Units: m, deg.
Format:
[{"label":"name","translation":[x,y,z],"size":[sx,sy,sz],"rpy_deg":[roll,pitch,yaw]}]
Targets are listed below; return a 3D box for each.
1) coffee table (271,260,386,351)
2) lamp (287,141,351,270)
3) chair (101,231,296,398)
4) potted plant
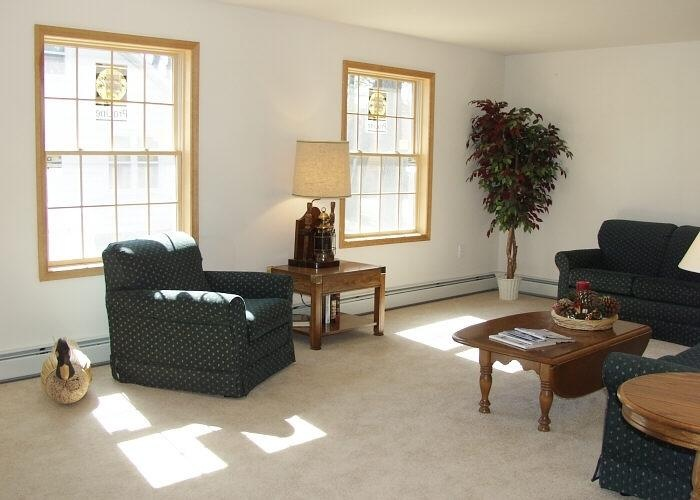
[{"label":"coffee table","translation":[-0.210,0.526,5.265],"size":[0.956,0.742,0.763],"rpy_deg":[-5,9,-40]},{"label":"lamp","translation":[-0.292,-0.462,5.134],"size":[0.559,1.234,0.472],"rpy_deg":[-8,14,-37]},{"label":"chair","translation":[-1.184,0.313,4.362],"size":[1.310,1.222,1.338],"rpy_deg":[3,7,20]},{"label":"potted plant","translation":[2.152,-0.666,6.774],"size":[1.272,2.593,0.872],"rpy_deg":[5,12,19]}]
